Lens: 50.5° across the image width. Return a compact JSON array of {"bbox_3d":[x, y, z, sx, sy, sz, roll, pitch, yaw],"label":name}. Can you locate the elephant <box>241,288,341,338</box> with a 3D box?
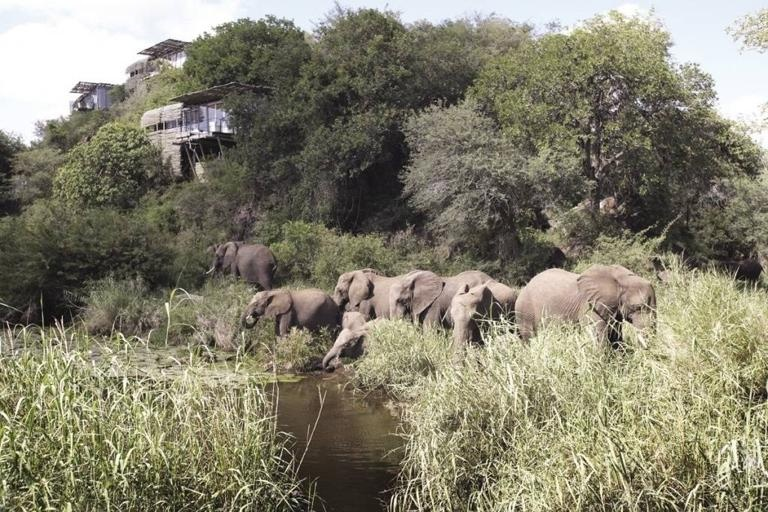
[{"bbox_3d":[-2.727,1.799,25.122,3.076,1.964,1.189,1,21,-14],"label":"elephant"}]

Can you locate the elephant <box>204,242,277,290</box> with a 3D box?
[{"bbox_3d":[-5.289,0.483,30.095,2.768,2.068,1.573,6,6,21],"label":"elephant"}]
